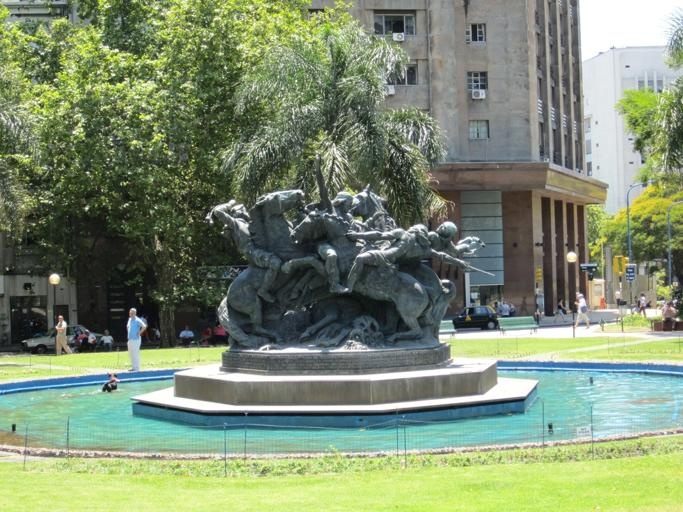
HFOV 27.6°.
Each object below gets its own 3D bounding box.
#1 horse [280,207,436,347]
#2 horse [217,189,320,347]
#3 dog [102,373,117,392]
[{"bbox_3d":[1.135,0.735,52.400,4.415,5.113,3.640,-3,-1,44],"label":"horse"},{"bbox_3d":[-3.128,0.328,52.886,2.989,6.769,2.749,-3,2,-45],"label":"horse"},{"bbox_3d":[-9.133,5.009,54.807,0.568,0.762,0.841,-2,-5,-5],"label":"dog"}]
